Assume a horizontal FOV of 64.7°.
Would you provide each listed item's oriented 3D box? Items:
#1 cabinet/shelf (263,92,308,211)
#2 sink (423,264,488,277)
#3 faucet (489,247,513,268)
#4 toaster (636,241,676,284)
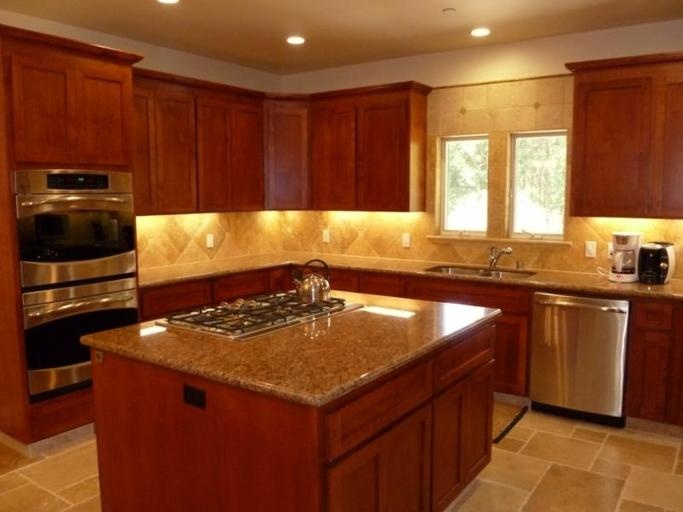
[{"bbox_3d":[-0.580,-1.081,5.770,0.460,1.141,0.142,1,14,6],"label":"cabinet/shelf"},{"bbox_3d":[1.130,0.129,5.255,0.632,0.079,0.319,0,12,1],"label":"sink"},{"bbox_3d":[1.497,0.022,5.047,0.209,0.208,0.285,3,13,13],"label":"faucet"},{"bbox_3d":[2.579,0.065,4.300,0.257,0.320,0.358,0,0,42],"label":"toaster"}]
